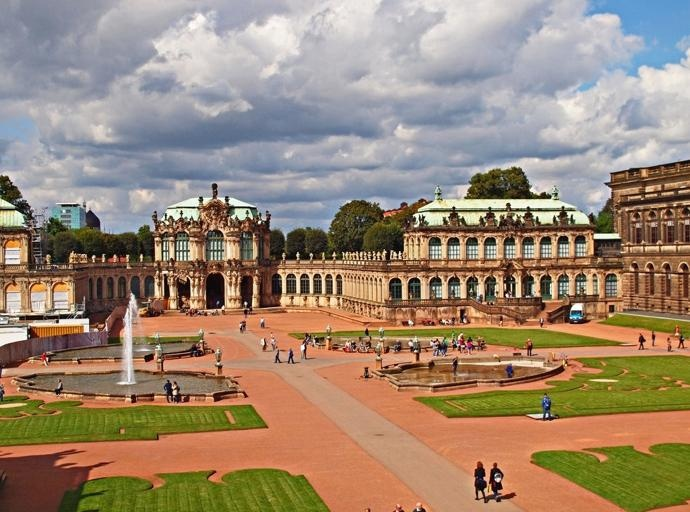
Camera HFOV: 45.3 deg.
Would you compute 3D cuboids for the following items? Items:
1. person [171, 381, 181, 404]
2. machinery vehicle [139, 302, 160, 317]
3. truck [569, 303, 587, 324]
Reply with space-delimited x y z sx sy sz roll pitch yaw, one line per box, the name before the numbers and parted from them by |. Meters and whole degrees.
person | -13.995 11.419 69.093 0.659 1.353 1.264 -1 4 -10
machinery vehicle | -31.691 8.968 134.477 2.851 1.656 2.805 0 3 -19
truck | 33.716 8.502 120.551 1.696 1.886 3.769 -2 -7 14
